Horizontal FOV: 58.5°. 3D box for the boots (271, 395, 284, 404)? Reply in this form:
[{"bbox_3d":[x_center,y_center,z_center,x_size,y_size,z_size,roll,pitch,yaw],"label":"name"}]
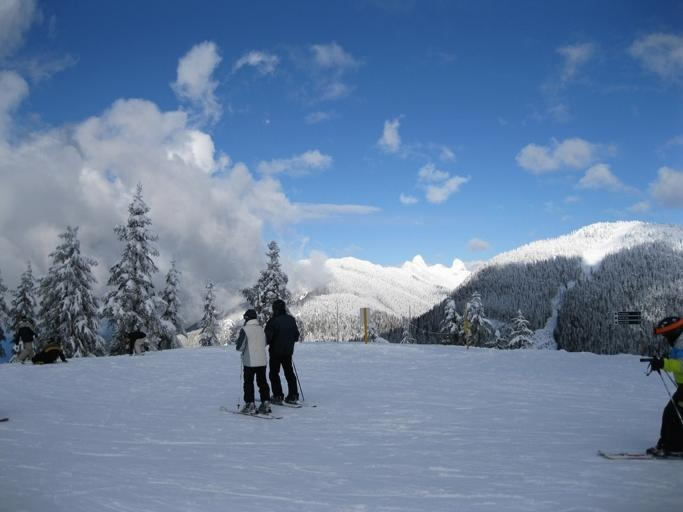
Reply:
[{"bbox_3d":[-1.853,4.161,17.629,0.257,0.252,0.210,-14,-19,25],"label":"boots"}]

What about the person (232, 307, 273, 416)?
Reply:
[{"bbox_3d":[-2.392,2.880,16.760,1.003,2.780,0.954,3,-3,-11],"label":"person"}]

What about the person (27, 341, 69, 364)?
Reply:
[{"bbox_3d":[-11.160,3.704,23.413,1.184,0.569,1.382,5,-3,-26],"label":"person"}]

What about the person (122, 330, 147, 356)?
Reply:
[{"bbox_3d":[-9.147,3.916,27.176,0.630,1.074,1.289,4,-3,-26],"label":"person"}]

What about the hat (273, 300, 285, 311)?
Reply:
[{"bbox_3d":[-1.768,1.425,17.391,0.267,0.389,0.344,-3,5,-9],"label":"hat"}]
